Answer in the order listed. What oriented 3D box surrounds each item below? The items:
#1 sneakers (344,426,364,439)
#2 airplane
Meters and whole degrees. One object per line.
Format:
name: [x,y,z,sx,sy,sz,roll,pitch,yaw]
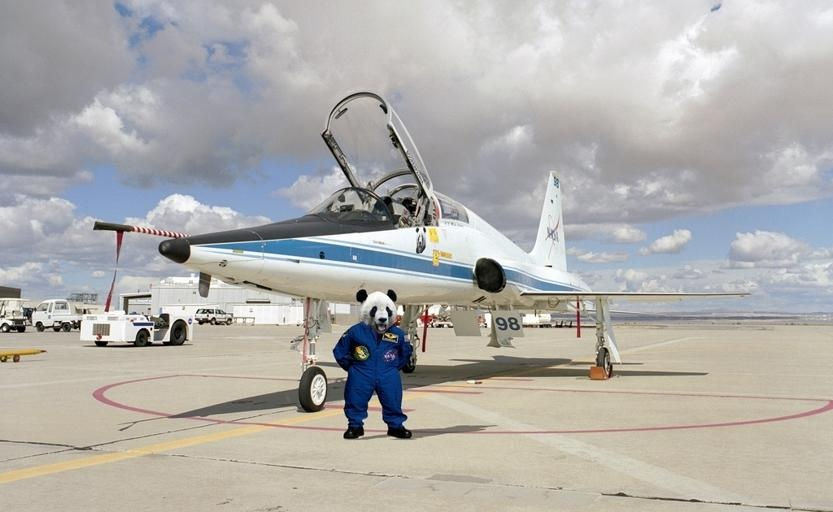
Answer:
sneakers: [-1.029,2.930,7.886,0.145,0.165,0.411,-5,-15,16]
airplane: [-0.034,-0.095,12.643,9.895,4.246,11.168,-5,-7,37]
